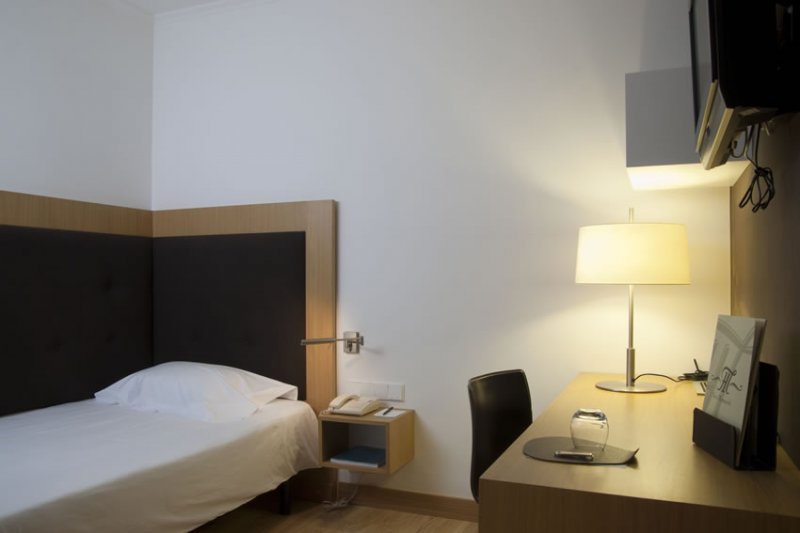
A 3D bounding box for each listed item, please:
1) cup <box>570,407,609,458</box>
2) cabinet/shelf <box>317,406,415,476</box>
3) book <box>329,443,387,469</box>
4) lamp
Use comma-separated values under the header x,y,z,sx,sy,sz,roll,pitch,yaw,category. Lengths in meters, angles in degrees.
x,y,z,sx,sy,sz,roll,pitch,yaw,category
0.706,0.618,2.150,0.147,0.203,0.155,0,0,0,cup
-0.224,1.173,3.947,0.546,0.362,0.419,-2,-3,22,cabinet/shelf
-0.253,1.270,3.936,0.408,0.070,0.318,2,1,17,book
1.238,0.208,3.122,0.448,0.876,0.383,0,2,-24,lamp
